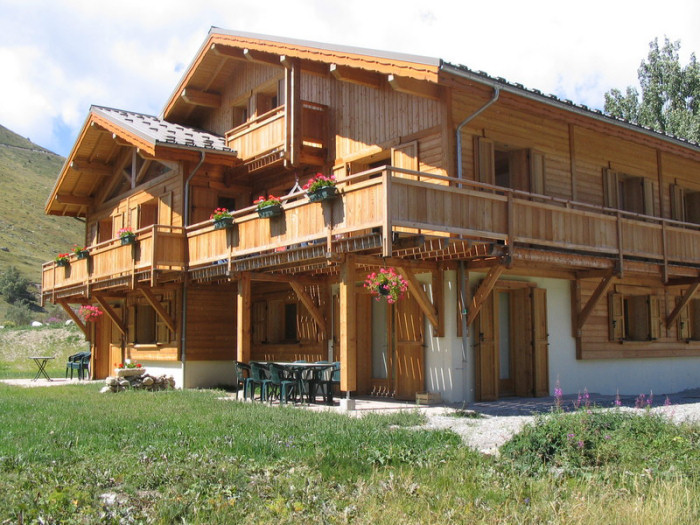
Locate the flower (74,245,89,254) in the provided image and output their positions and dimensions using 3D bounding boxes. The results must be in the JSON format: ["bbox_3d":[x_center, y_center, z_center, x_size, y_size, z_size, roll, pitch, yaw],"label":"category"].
[{"bbox_3d":[-8.849,-0.397,26.036,0.429,0.313,0.367,-7,8,-44],"label":"flower"}]

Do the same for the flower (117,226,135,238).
[{"bbox_3d":[-6.627,-0.893,23.192,0.535,0.404,0.588,-2,-1,-4],"label":"flower"}]

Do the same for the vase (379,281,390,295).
[{"bbox_3d":[0.738,0.563,17.238,0.227,0.236,0.232,0,-2,-32],"label":"vase"}]

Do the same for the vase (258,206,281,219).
[{"bbox_3d":[-1.934,-1.194,18.811,0.269,0.220,0.786,12,-18,-38],"label":"vase"}]

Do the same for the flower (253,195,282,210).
[{"bbox_3d":[-2.024,-1.492,19.486,0.625,0.379,0.698,0,-4,-38],"label":"flower"}]

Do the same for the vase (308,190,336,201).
[{"bbox_3d":[-0.599,-1.467,17.177,0.253,0.194,0.713,14,-19,-42],"label":"vase"}]

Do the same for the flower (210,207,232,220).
[{"bbox_3d":[-3.570,-1.339,21.511,0.510,0.517,0.518,2,-3,-7],"label":"flower"}]

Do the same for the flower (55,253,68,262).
[{"bbox_3d":[-10.089,-0.114,27.567,0.345,0.288,0.374,1,-6,-1],"label":"flower"}]

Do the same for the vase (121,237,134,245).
[{"bbox_3d":[-6.502,-0.640,22.930,0.299,0.191,0.216,-10,-17,38],"label":"vase"}]

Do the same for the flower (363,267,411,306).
[{"bbox_3d":[0.820,0.475,17.616,0.814,0.724,0.923,2,-5,5],"label":"flower"}]
